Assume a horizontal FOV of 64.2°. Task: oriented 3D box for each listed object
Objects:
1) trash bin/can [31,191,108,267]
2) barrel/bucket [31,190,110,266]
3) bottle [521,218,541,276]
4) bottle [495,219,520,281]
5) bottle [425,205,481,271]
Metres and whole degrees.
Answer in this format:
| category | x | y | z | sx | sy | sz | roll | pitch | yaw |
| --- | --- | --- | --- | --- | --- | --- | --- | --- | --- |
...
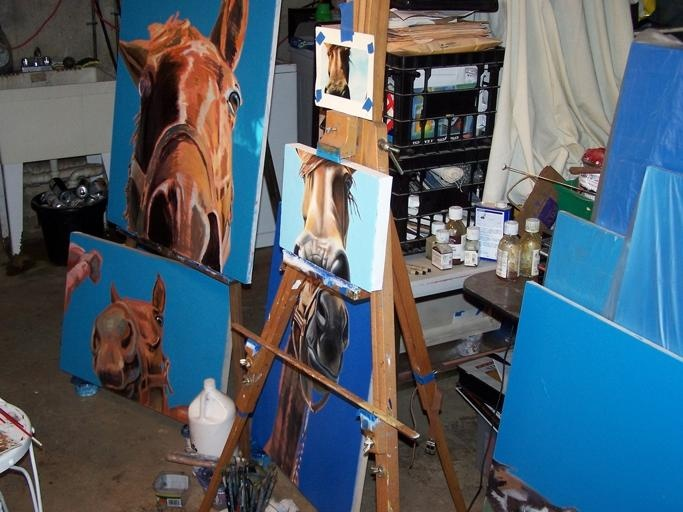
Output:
| category | x | y | z | sx | sy | sz | roll | pitch | yaw |
| --- | --- | --- | --- | --- | --- | --- | --- | --- | --- |
| trash bin/can | -1.949 | -0.213 | 4.086 | 0.476 | 0.440 | 0.542 | 7 | 32 | 4 |
| barrel/bucket | -1.980 | -0.241 | 4.096 | 0.479 | 0.437 | 0.541 | -1 | 34 | -8 |
| bottle | 0.792 | -0.040 | 2.274 | 0.086 | 0.241 | 0.111 | 7 | 17 | 20 |
| bottle | 0.693 | -0.026 | 2.244 | 0.092 | 0.223 | 0.095 | 1 | 16 | 0 |
| bottle | 0.496 | -0.072 | 2.454 | 0.220 | 0.291 | 0.094 | -5 | 20 | -14 |
